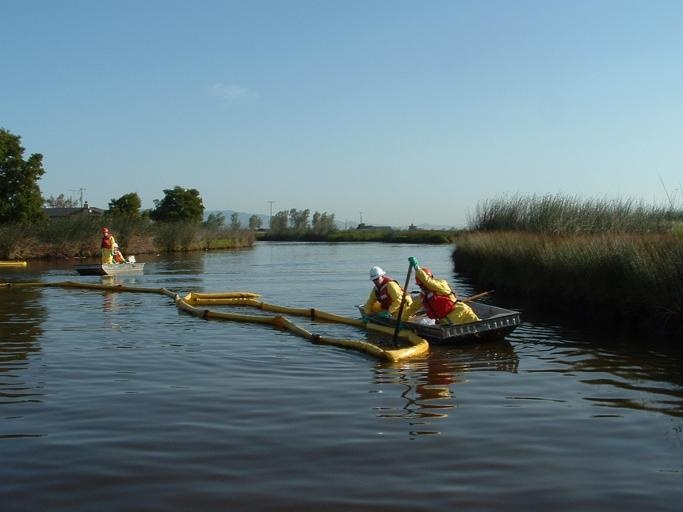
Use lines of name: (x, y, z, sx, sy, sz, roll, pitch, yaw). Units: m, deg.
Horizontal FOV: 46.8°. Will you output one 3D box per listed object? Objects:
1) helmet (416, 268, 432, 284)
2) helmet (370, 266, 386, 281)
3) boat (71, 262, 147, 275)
helmet: (1.703, 0.426, 16.411, 0.314, 0.317, 0.581, -1, 1, 4)
helmet: (0.792, 0.405, 17.988, 0.397, 0.221, 0.439, -3, 4, 7)
boat: (-9.487, 0.541, 32.383, 1.491, 0.505, 3.261, 0, 0, 15)
